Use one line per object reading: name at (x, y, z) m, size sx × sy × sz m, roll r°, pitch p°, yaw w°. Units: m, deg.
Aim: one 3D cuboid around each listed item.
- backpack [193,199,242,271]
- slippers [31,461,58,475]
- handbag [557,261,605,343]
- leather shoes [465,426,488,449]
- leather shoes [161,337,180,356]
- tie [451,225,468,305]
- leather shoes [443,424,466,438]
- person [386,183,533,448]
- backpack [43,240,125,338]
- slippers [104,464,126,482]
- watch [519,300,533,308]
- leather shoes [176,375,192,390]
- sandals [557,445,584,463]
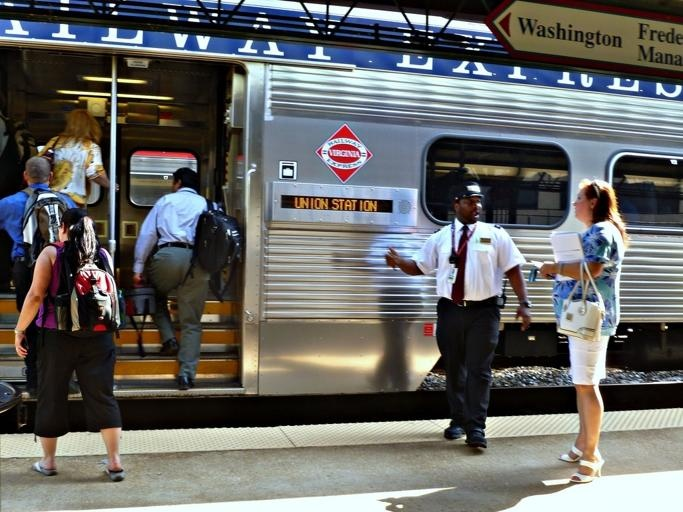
backpack at (-1.070, -0.104, 6.904) m, size 0.468 × 0.509 × 0.203 m, roll 9°, pitch 14°, yaw 30°
slippers at (-2.144, 1.544, 5.817) m, size 0.206 × 0.062 × 0.073 m, roll 6°, pitch -1°, yaw 34°
handbag at (1.766, 0.332, 5.837) m, size 0.326 × 0.564 × 0.244 m, roll 5°, pitch 13°, yaw 13°
leather shoes at (1.107, 1.488, 6.492) m, size 0.189 × 0.187 × 0.158 m, roll 2°, pitch 12°, yaw 1°
leather shoes at (-1.492, 0.795, 6.969) m, size 0.180 × 0.171 × 0.119 m, roll 2°, pitch 12°, yaw -2°
tie at (0.968, 0.069, 6.583) m, size 0.126 × 0.619 × 0.245 m, roll 5°, pitch 13°, yaw 9°
leather shoes at (0.932, 1.481, 6.723) m, size 0.193 × 0.074 × 0.094 m, roll 3°, pitch 23°, yaw -12°
person at (1.068, 0.466, 6.695) m, size 0.617 × 2.129 × 0.984 m, roll -7°, pitch 16°, yaw -37°
backpack at (-1.847, 0.236, 5.647) m, size 0.534 × 0.593 × 0.261 m, roll -1°, pitch 13°, yaw -17°
slippers at (-1.623, 1.579, 5.764) m, size 0.073 × 0.066 × 0.185 m, roll 2°, pitch 2°, yaw -27°
watch at (1.512, 0.388, 6.601) m, size 0.100 × 0.044 × 0.091 m, roll 12°, pitch -3°, yaw -24°
leather shoes at (-1.308, 1.066, 6.745) m, size 0.128 × 0.103 × 0.111 m, roll 0°, pitch 12°, yaw -11°
sandals at (1.814, 1.578, 6.333) m, size 0.241 × 0.071 × 0.077 m, roll -1°, pitch 0°, yaw -7°
